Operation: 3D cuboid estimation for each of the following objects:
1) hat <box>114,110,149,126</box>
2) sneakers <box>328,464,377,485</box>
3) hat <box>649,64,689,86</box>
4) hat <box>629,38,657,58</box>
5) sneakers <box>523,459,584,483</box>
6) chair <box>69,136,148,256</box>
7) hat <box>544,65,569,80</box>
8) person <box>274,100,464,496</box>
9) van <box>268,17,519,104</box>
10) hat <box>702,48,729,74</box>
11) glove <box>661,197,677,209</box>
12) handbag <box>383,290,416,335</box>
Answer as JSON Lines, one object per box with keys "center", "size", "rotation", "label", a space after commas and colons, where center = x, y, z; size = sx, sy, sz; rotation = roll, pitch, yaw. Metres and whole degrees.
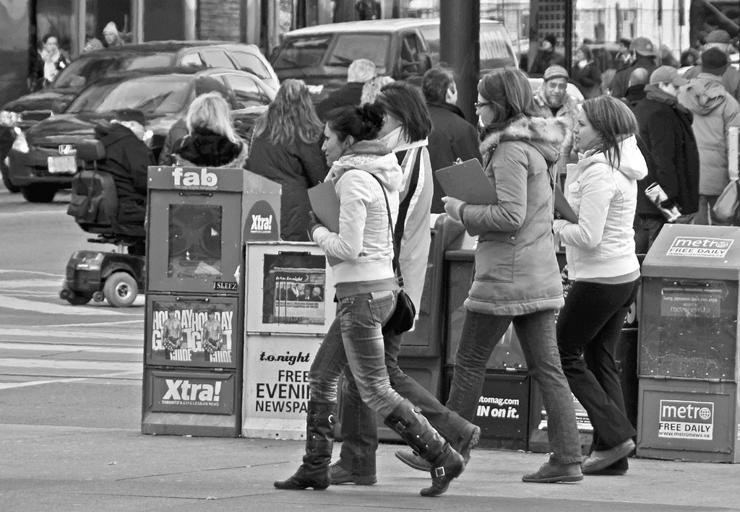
{"center": [-3.731, -2.130, 24.388], "size": [0.612, 0.248, 1.015], "rotation": [-1, 4, -2], "label": "hat"}
{"center": [-0.137, 1.627, 11.723], "size": [0.353, 0.176, 0.134], "rotation": [3, 1, -2], "label": "sneakers"}
{"center": [3.021, -1.816, 15.898], "size": [0.348, 0.200, 0.253], "rotation": [1, 13, -7], "label": "hat"}
{"center": [3.278, -2.498, 18.842], "size": [0.277, 0.254, 0.482], "rotation": [0, 3, 9], "label": "hat"}
{"center": [1.387, 1.651, 11.929], "size": [0.470, 0.209, 0.162], "rotation": [2, -1, 8], "label": "sneakers"}
{"center": [-3.118, -0.719, 19.121], "size": [1.070, 1.289, 1.078], "rotation": [3, 2, -3], "label": "chair"}
{"center": [1.955, -1.928, 16.541], "size": [0.216, 0.124, 0.265], "rotation": [3, 5, 14], "label": "hat"}
{"center": [-0.041, 0.333, 11.381], "size": [1.177, 2.865, 0.470], "rotation": [0, 2, -1], "label": "person"}
{"center": [-0.021, -3.182, 28.538], "size": [2.823, 1.997, 4.033], "rotation": [0, 9, 27], "label": "van"}
{"center": [3.865, -2.208, 17.839], "size": [0.269, 0.321, 0.461], "rotation": [2, 3, 42], "label": "hat"}
{"center": [2.922, -0.518, 15.480], "size": [0.163, 0.093, 0.046], "rotation": [-2, 3, -30], "label": "glove"}
{"center": [0.191, 0.419, 11.486], "size": [0.233, 0.333, 0.170], "rotation": [-7, -13, -32], "label": "handbag"}
